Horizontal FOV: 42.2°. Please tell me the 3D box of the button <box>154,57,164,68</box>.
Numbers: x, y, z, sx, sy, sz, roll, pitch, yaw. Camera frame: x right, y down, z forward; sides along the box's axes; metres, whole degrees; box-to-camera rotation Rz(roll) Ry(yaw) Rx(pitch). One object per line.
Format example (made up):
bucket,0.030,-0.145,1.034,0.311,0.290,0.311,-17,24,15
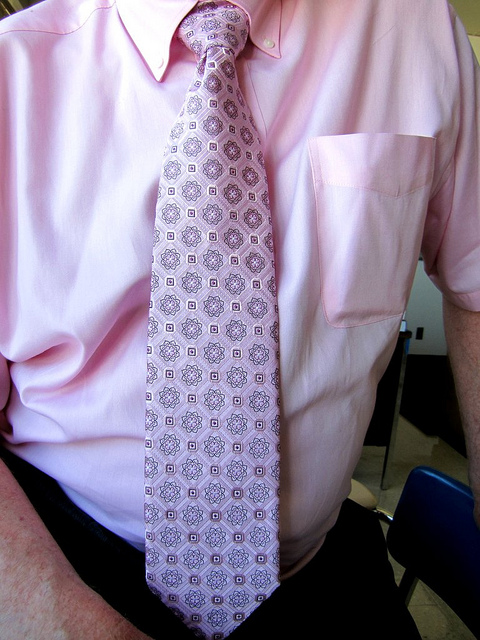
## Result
button,-0.099,-0.314,0.759,0.011,0.010,0.002,8,12,24
